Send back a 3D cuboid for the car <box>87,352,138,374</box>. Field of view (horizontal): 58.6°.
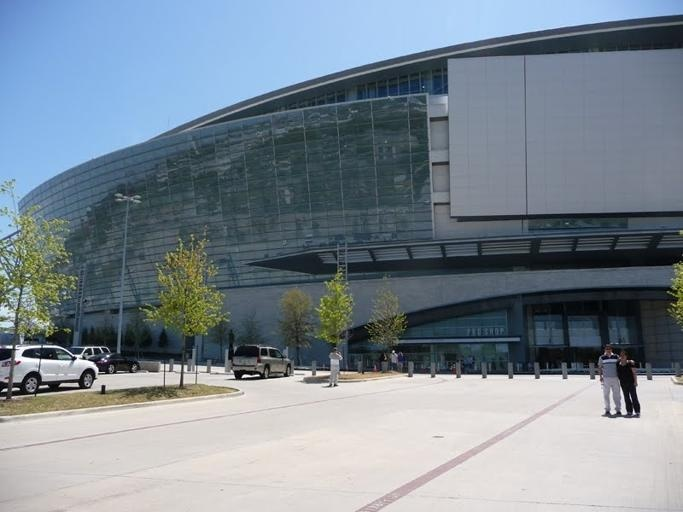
[{"bbox_3d":[-16.246,7.701,43.874,1.327,0.891,2.853,-1,-4,30],"label":"car"}]

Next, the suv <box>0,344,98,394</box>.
[{"bbox_3d":[-12.944,4.791,26.466,1.476,1.410,3.611,-5,-7,31],"label":"suv"}]

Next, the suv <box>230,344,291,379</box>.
[{"bbox_3d":[-5.099,6.887,40.040,1.865,1.630,4.182,-3,-7,28],"label":"suv"}]
